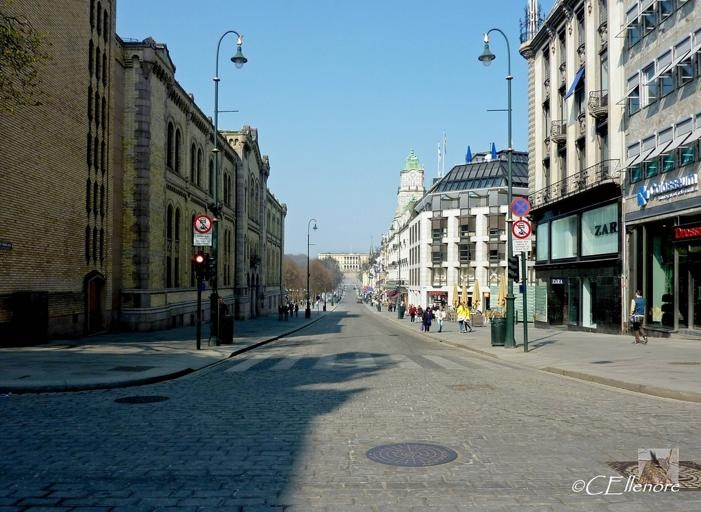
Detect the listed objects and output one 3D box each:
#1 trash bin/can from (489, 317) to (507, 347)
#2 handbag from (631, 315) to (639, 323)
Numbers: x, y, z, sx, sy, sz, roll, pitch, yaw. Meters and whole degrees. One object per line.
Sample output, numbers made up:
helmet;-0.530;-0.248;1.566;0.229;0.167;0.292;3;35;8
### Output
trash bin/can;6.277;3.184;33.480;0.905;1.476;0.992;2;-3;-9
handbag;11.664;2.531;32.480;0.386;0.447;0.225;2;6;26
